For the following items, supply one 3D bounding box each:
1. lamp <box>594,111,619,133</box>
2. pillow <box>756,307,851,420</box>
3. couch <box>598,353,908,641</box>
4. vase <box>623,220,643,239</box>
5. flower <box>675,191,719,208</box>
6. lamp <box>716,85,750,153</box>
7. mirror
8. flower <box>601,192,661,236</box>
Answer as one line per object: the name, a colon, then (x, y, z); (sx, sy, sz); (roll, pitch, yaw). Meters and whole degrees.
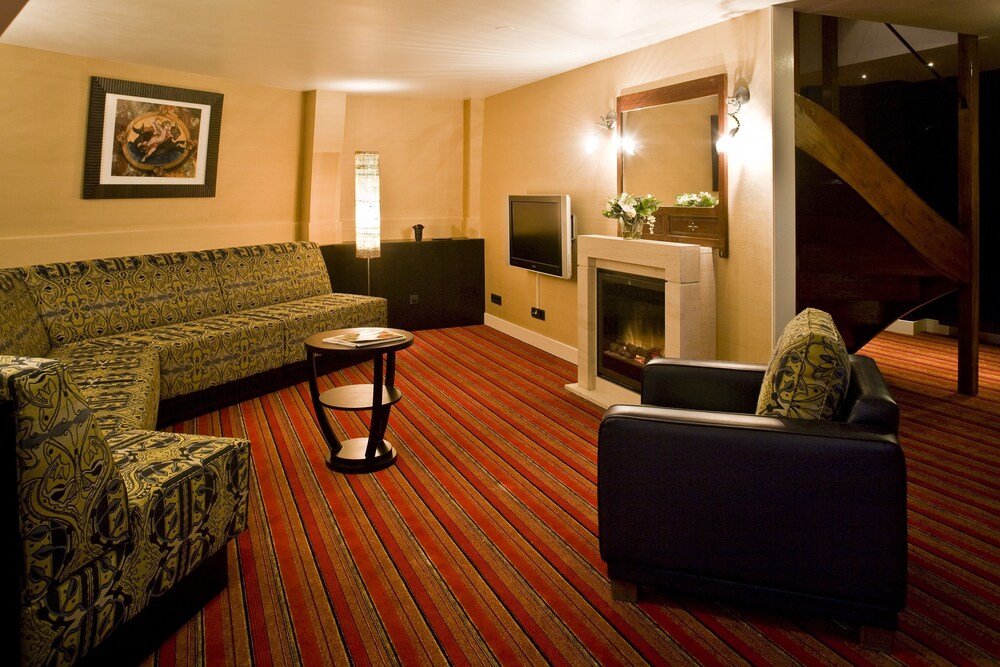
lamp: (0.970, -1.919, 5.791); (0.159, 0.181, 0.187); (0, 0, -25)
pillow: (1.512, 0.149, 3.215); (0.292, 0.542, 0.558); (15, 3, 11)
couch: (1.252, 0.611, 3.235); (1.222, 0.905, 1.246); (1, 3, 22)
vase: (1.089, -0.865, 5.268); (0.139, 0.130, 0.136); (-2, 7, -21)
flower: (1.551, -1.062, 5.039); (0.076, 0.127, 0.372); (-8, 15, -29)
lamp: (1.692, -1.576, 4.693); (0.107, 0.472, 0.277); (-7, 15, -28)
mirror: (1.408, -1.335, 5.105); (0.076, 1.795, 1.558); (-4, 7, -28)
flower: (1.092, -0.995, 5.263); (0.412, 0.296, 0.402); (-7, 13, -27)
